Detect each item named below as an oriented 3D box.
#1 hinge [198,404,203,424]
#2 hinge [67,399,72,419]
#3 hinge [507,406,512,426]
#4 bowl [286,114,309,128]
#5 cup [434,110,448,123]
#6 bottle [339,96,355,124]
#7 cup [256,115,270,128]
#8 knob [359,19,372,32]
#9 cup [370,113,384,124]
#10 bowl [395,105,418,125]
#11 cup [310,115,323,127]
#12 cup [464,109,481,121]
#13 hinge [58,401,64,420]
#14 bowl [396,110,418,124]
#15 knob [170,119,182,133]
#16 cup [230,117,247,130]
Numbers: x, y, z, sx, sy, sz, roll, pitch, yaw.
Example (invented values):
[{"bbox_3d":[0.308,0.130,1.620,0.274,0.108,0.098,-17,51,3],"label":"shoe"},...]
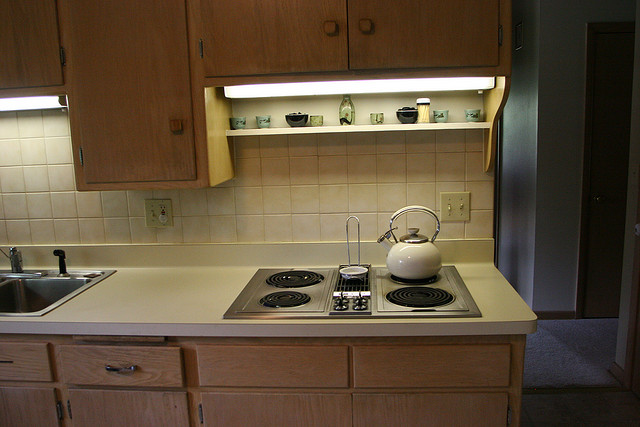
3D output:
[{"bbox_3d":[-0.567,0.959,2.472,0.026,0.094,0.011,5,14,24],"label":"hinge"},{"bbox_3d":[-1.215,0.952,2.512,0.020,0.089,0.023,-4,0,29],"label":"hinge"},{"bbox_3d":[0.886,0.943,2.412,0.022,0.089,0.011,-6,14,-21],"label":"hinge"},{"bbox_3d":[-0.111,-0.504,2.811,0.136,0.069,0.081,-4,13,-16],"label":"bowl"},{"bbox_3d":[0.649,-0.520,2.767,0.068,0.049,0.066,0,-1,0],"label":"cup"},{"bbox_3d":[0.149,-0.566,2.828,0.079,0.148,0.105,0,13,2],"label":"bottle"},{"bbox_3d":[-0.305,-0.501,2.819,0.068,0.048,0.063,0,5,0],"label":"cup"},{"bbox_3d":[0.225,-0.912,2.507,0.061,0.059,0.018,-1,13,-3],"label":"knob"},{"bbox_3d":[0.309,-0.512,2.782,0.061,0.042,0.059,-1,7,0],"label":"cup"},{"bbox_3d":[0.469,-0.523,2.759,0.101,0.071,0.111,1,5,0],"label":"bowl"},{"bbox_3d":[-0.018,-0.505,2.817,0.069,0.062,0.110,0,12,5],"label":"cup"},{"bbox_3d":[0.818,-0.523,2.770,0.070,0.049,0.067,1,4,0],"label":"cup"},{"bbox_3d":[-1.261,0.963,2.522,0.020,0.085,0.018,-6,14,-22],"label":"hinge"},{"bbox_3d":[0.469,-0.516,2.760,0.084,0.045,0.077,0,9,0],"label":"bowl"},{"bbox_3d":[-0.723,-0.443,2.584,0.057,0.050,0.014,4,8,14],"label":"knob"},{"bbox_3d":[-0.442,-0.494,2.829,0.071,0.053,0.073,-1,2,0],"label":"cup"}]
